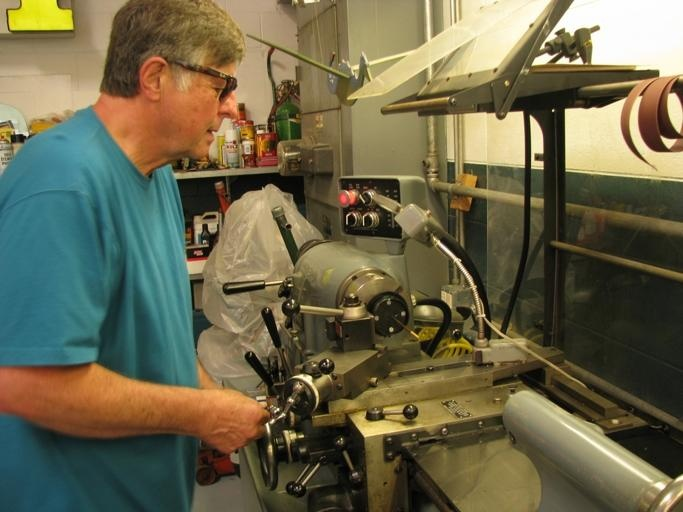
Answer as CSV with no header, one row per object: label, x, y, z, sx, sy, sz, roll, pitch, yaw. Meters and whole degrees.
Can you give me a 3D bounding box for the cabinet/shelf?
cabinet/shelf,0.044,-0.609,2.992,0.532,1.613,1.224,-9,10,-31
